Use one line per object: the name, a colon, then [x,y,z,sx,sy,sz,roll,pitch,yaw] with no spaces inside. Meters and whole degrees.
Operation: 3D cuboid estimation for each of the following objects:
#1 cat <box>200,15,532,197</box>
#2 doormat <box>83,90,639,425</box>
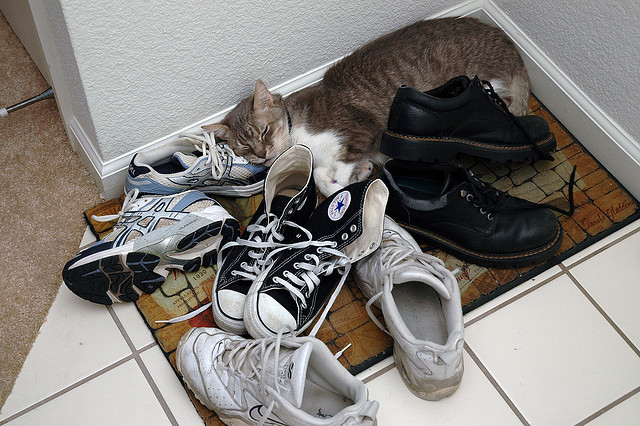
cat: [0.207,-0.385,1.805,1.238,0.355,0.425,-16,58,-17]
doormat: [0.200,0.028,1.707,1.649,0.323,0.816,-20,59,-20]
